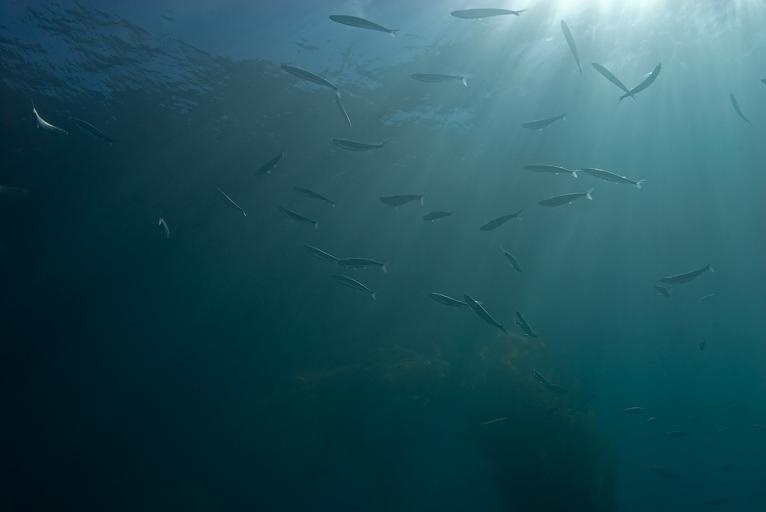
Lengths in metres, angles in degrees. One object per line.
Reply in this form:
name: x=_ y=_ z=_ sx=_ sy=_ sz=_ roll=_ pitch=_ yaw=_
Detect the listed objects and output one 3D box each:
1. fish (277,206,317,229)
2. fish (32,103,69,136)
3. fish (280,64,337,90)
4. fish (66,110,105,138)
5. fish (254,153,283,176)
fish: x=-2.040 y=-0.882 z=15.502 sx=0.192 sy=0.217 sz=0.822 roll=-9 pitch=-26 yaw=40
fish: x=-7.271 y=-2.938 z=14.750 sx=0.224 sy=0.309 sz=1.248 roll=-6 pitch=33 yaw=-37
fish: x=-1.486 y=-3.545 z=13.673 sx=1.031 sy=0.312 sz=0.639 roll=24 pitch=28 yaw=5
fish: x=-6.534 y=-2.838 z=14.767 sx=0.968 sy=0.173 sz=0.269 roll=36 pitch=31 yaw=-31
fish: x=-2.515 y=-1.917 z=14.628 sx=0.227 sy=0.853 sz=0.364 roll=-28 pitch=87 yaw=-40
